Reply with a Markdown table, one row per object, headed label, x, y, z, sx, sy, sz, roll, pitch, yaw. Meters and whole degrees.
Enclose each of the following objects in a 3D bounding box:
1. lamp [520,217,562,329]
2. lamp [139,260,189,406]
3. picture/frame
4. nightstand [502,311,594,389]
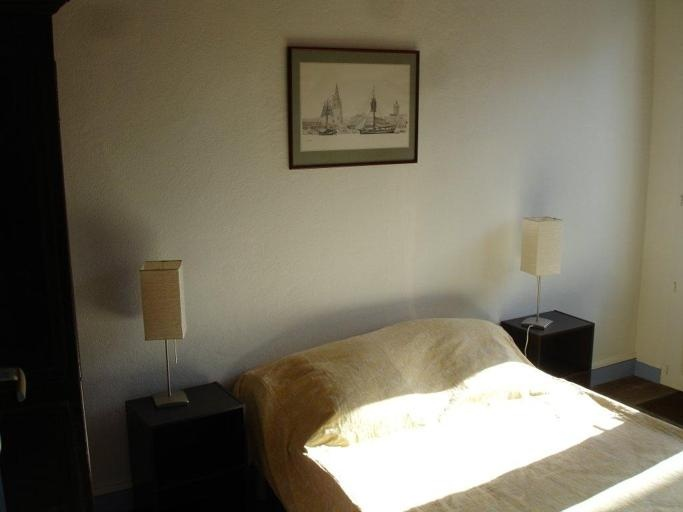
| label | x | y | z | sx | sy | sz | roll | pitch | yaw |
| --- | --- | --- | --- | --- | --- | --- | --- | --- | --- |
| lamp | 1.220 | 0.095 | 3.570 | 0.242 | 0.671 | 0.375 | 2 | 6 | 3 |
| lamp | -0.829 | 0.359 | 2.700 | 0.206 | 0.676 | 0.282 | 0 | 7 | -17 |
| picture/frame | 0.034 | -0.810 | 3.033 | 0.632 | 0.534 | 0.016 | -7 | 16 | -25 |
| nightstand | 1.332 | 0.513 | 3.668 | 0.552 | 0.587 | 0.423 | 0 | 13 | -25 |
